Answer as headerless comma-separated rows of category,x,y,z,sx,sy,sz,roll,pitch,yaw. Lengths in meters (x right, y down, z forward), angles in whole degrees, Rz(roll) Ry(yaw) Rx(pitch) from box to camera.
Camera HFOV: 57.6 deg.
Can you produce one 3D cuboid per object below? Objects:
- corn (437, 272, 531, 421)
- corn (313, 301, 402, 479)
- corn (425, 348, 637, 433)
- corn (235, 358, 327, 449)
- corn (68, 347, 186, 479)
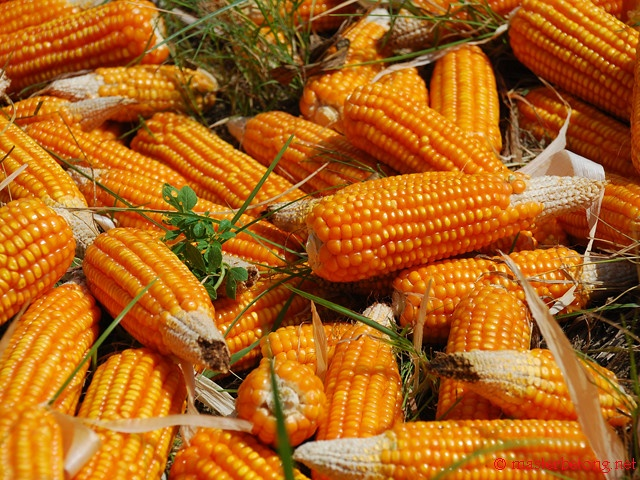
corn,0.736,0.415,2.555,0.249,0.298,0.694,9,54,20
corn,0.228,0.613,2.588,0.248,0.258,0.778,10,66,35
corn,0.980,0.619,2.469,1.074,0.317,0.326,11,81,-8
corn,-0.162,0.689,2.543,0.393,0.326,0.359,-12,69,-5
corn,-0.807,0.701,2.489,0.241,0.293,0.679,-7,38,26
